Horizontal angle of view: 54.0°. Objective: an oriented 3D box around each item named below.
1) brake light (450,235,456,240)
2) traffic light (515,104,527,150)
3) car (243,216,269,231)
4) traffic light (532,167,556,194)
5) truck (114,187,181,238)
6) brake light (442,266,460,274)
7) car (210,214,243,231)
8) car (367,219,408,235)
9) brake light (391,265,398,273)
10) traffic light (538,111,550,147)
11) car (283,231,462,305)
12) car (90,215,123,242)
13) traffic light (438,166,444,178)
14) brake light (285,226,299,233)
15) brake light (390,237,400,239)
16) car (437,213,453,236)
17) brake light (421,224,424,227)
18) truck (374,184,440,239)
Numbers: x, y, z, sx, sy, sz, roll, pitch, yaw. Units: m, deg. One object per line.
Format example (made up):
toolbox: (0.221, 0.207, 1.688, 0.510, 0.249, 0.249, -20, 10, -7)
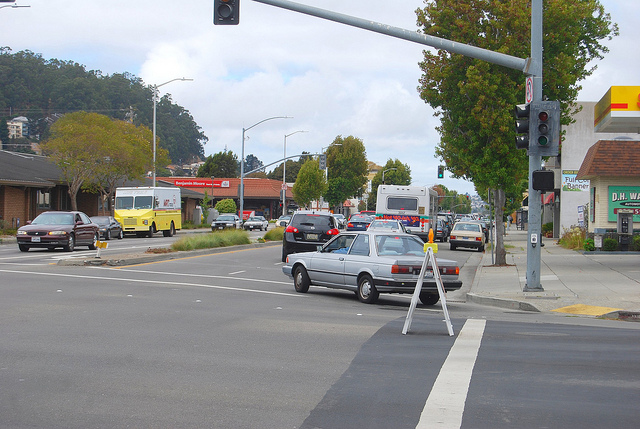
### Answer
brake light: (8.151, 1.371, 38.882, 0.252, 0.266, 0.569, 1, 2, -17)
traffic light: (5.704, -2.518, 17.788, 0.337, 1.258, 0.768, 2, 2, 18)
car: (-6.759, 0.893, 65.942, 2.232, 1.284, 3.366, 1, 2, -1)
traffic light: (6.289, -0.977, 17.705, 0.574, 0.660, 0.553, 2, 2, 19)
truck: (-13.139, -0.266, 47.739, 2.831, 2.919, 5.321, -2, -4, 11)
brake light: (3.452, 1.444, 16.411, 0.593, 0.226, 0.121, 0, 2, -35)
car: (-8.029, 0.652, 54.724, 1.725, 0.960, 2.839, -1, -5, 6)
car: (3.026, 0.512, 28.640, 0.923, 0.701, 1.506, 1, 7, 11)
brake light: (1.893, 1.362, 15.887, 0.198, 0.153, 0.285, 2, -25, -2)
traffic light: (6.225, -2.377, 17.412, 0.353, 0.995, 0.154, 1, 2, -5)
car: (1.046, 1.365, 17.206, 3.940, 1.855, 1.240, 3, 2, 39)
car: (-14.074, 0.811, 41.668, 1.459, 1.103, 3.336, -1, -4, 7)
traffic light: (10.804, -3.816, 56.330, 0.393, 0.989, 1.428, 2, 2, 12)
brake light: (-1.128, 0.562, 24.510, 0.653, 0.232, 0.176, 3, 3, 43)
brake light: (2.040, 0.620, 17.003, 0.237, 0.050, 0.050, 1, 2, -20)
car: (12.461, 0.708, 61.623, 2.061, 2.088, 3.613, 1, 9, 12)
brake light: (6.267, 0.637, 38.401, 0.152, 0.113, 0.073, 1, 2, 7)
truck: (5.853, -0.260, 40.884, 3.181, 3.008, 5.881, 2, 2, 10)
